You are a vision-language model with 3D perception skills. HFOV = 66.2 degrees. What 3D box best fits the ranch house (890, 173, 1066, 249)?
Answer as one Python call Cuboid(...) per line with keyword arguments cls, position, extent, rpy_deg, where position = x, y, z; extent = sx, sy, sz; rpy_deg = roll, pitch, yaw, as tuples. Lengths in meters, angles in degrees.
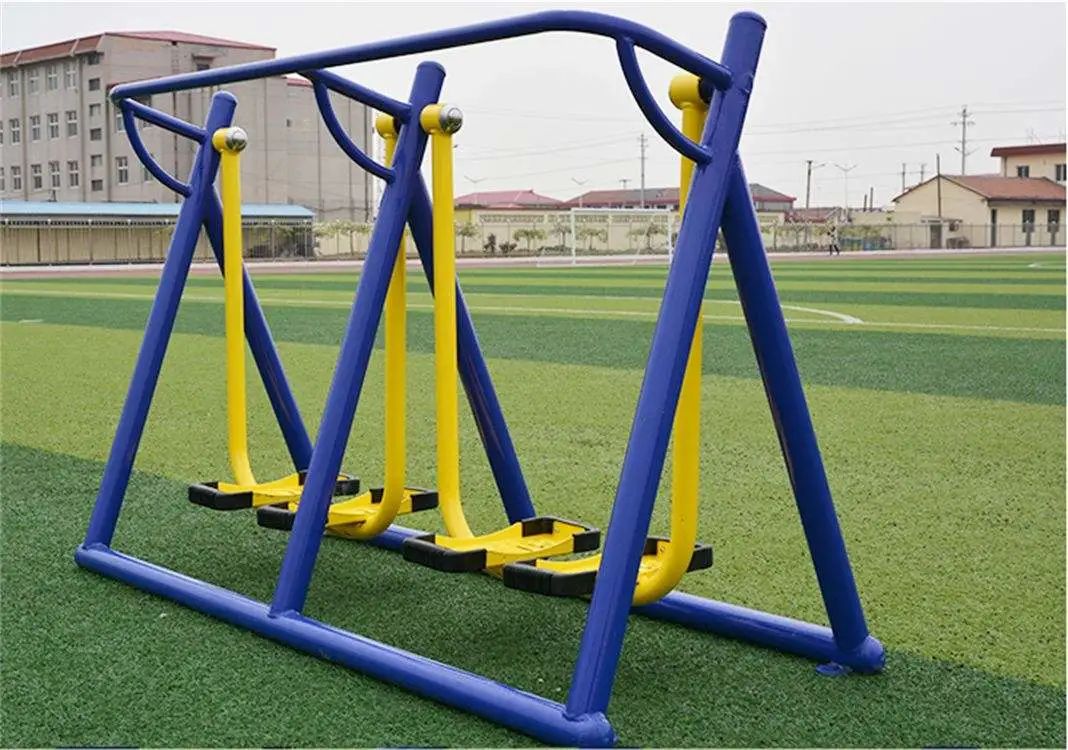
Cuboid(cls="ranch house", position=(33.190, -11.794, 60.409), extent=(10.681, 6.569, 13.693), rpy_deg=(6, 5, 22))
